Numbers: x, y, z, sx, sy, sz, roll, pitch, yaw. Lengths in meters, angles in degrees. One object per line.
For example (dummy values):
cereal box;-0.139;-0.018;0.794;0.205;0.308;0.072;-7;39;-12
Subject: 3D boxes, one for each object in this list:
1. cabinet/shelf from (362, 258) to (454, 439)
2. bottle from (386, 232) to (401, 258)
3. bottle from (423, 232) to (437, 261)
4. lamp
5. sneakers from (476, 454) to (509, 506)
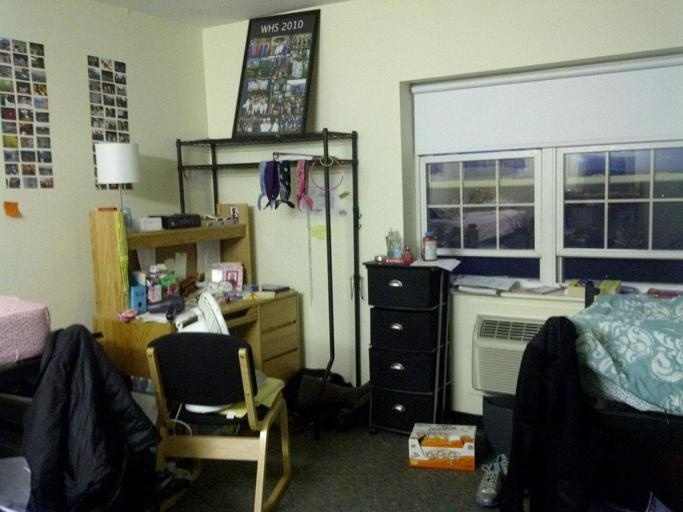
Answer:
cabinet/shelf;0.482;0.646;3.914;0.600;1.158;0.459;1;3;35
bottle;0.372;-0.094;3.977;0.118;0.148;0.274;-1;13;5
bottle;0.620;-0.065;3.894;0.079;0.176;0.110;-7;13;-22
lamp;-1.516;-0.536;3.750;0.261;0.462;0.465;-10;15;-32
sneakers;0.910;1.267;3.250;0.157;0.172;0.457;3;6;22
